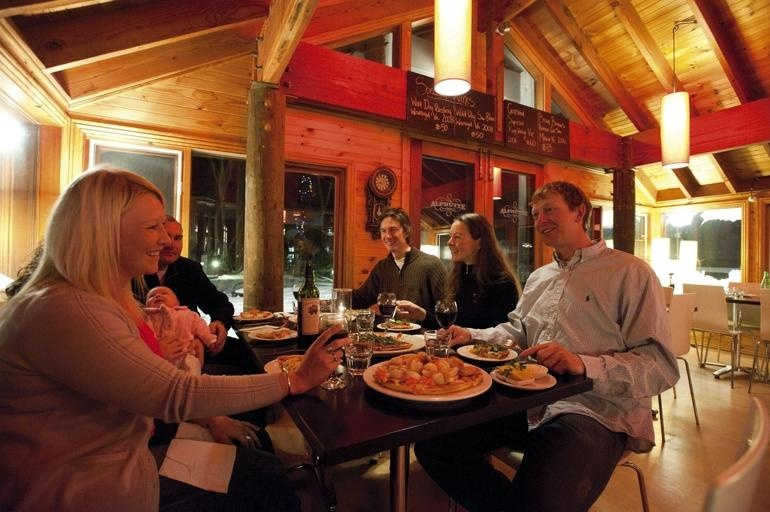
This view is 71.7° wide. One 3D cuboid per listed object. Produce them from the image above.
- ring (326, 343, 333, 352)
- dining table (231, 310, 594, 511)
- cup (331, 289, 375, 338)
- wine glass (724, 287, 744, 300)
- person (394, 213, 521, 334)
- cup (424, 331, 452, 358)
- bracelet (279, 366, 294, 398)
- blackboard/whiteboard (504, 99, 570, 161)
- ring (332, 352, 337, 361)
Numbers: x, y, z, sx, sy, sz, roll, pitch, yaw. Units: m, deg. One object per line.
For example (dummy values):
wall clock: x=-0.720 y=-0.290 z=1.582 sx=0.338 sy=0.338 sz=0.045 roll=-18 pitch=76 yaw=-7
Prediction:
ring: x=-0.304 y=0.512 z=2.940 sx=0.031 sy=0.036 sz=0.014 roll=-4 pitch=-8 yaw=4
dining table: x=0.034 y=0.383 z=2.842 sx=1.758 sy=0.828 sz=0.925 roll=-3 pitch=11 yaw=-27
cup: x=-0.225 y=0.372 z=3.522 sx=0.202 sy=0.339 sz=0.352 roll=-2 pitch=-2 yaw=-23
wine glass: x=4.175 y=0.461 z=6.370 sx=0.236 sy=0.091 sz=0.326 roll=-4 pitch=-1 yaw=37
person: x=0.611 y=0.184 z=4.483 sx=0.994 sy=0.880 sz=0.871 roll=3 pitch=-8 yaw=-16
cup: x=0.317 y=0.525 z=3.182 sx=0.148 sy=0.159 sz=0.145 roll=-1 pitch=0 yaw=0
bracelet: x=-0.537 y=0.701 z=2.927 sx=0.041 sy=0.110 sz=0.098 roll=-8 pitch=-26 yaw=-23
blackboard/whiteboard: x=1.874 y=-1.534 z=6.629 sx=0.939 sy=0.500 sz=0.121 roll=3 pitch=-6 yaw=-30
ring: x=-0.281 y=0.557 z=2.918 sx=0.029 sy=0.038 sz=0.011 roll=-2 pitch=-3 yaw=7
